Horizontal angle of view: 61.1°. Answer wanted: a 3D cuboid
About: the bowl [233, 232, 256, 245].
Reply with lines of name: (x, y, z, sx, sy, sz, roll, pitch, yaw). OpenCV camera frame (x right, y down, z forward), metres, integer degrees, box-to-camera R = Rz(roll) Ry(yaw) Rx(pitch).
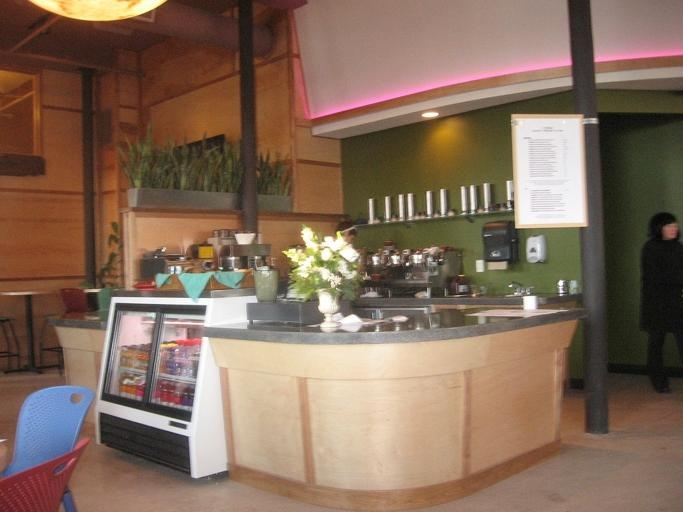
bowl: (-1.025, -0.177, 6.038, 0.176, 0.062, 0.175, -1, -3, 0)

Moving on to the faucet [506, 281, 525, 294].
faucet: (1.993, 0.357, 6.570, 0.168, 0.152, 0.474, -1, -5, 18)

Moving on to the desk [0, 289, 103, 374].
desk: (-4.530, 1.126, 8.793, 0.981, 1.316, 1.701, -5, 2, -42)

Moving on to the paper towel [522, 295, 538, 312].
paper towel: (1.521, 0.386, 4.711, 0.178, 0.106, 0.119, -1, -2, 15)

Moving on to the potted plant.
potted plant: (-1.940, -0.942, 6.856, 3.032, 0.872, 0.967, -4, 5, -33)
